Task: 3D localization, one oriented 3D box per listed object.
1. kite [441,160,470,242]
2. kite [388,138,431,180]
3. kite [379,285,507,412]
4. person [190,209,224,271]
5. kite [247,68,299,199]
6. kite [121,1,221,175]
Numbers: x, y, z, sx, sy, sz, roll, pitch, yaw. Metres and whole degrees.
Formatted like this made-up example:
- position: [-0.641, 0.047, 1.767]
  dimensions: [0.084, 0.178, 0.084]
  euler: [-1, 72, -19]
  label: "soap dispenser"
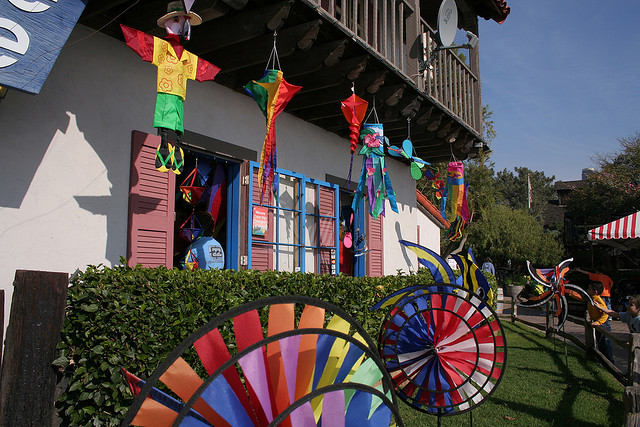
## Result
- position: [3.218, -0.225, 12.191]
  dimensions: [0.658, 1.917, 0.561]
  euler: [12, 28, 30]
  label: "kite"
- position: [1.863, -1.100, 10.347]
  dimensions: [0.939, 0.254, 0.894]
  euler: [20, -22, -11]
  label: "kite"
- position: [1.410, 1.416, 5.973]
  dimensions: [1.316, 1.859, 1.109]
  euler: [7, 19, 16]
  label: "kite"
- position: [-1.874, 0.406, 8.472]
  dimensions: [0.552, 0.987, 1.087]
  euler: [4, 0, -17]
  label: "person"
- position: [-0.809, -1.303, 8.261]
  dimensions: [0.745, 2.026, 1.688]
  euler: [4, 0, -5]
  label: "kite"
- position: [-2.196, -1.858, 7.302]
  dimensions: [0.605, 2.599, 1.917]
  euler: [-2, -5, 32]
  label: "kite"
